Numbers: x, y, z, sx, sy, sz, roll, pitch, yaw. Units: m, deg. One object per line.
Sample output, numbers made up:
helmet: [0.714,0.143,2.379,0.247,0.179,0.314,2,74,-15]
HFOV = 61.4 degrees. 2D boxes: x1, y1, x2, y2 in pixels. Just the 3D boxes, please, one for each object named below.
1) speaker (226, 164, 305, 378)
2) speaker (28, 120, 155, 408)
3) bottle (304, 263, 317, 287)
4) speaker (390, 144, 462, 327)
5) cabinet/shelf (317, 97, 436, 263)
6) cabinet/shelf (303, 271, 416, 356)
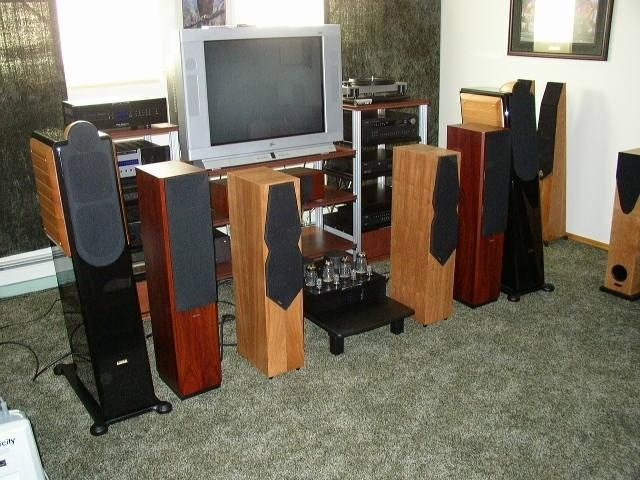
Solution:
speaker: [-0.278,0.168,2.885,0.349,1.038,0.405,-14,22,-29]
speaker: [-1.076,0.140,2.521,0.518,1.361,0.267,12,23,36]
bottle: [-0.056,0.213,3.138,0.096,0.165,0.102,-1,5,0]
speaker: [0.611,-0.020,3.267,0.421,1.032,0.337,6,21,24]
cabinet/shelf: [0.366,-0.397,3.647,0.626,1.289,0.714,-13,30,-26]
cabinet/shelf: [0.199,0.410,3.112,0.389,0.262,0.528,-13,28,-25]
